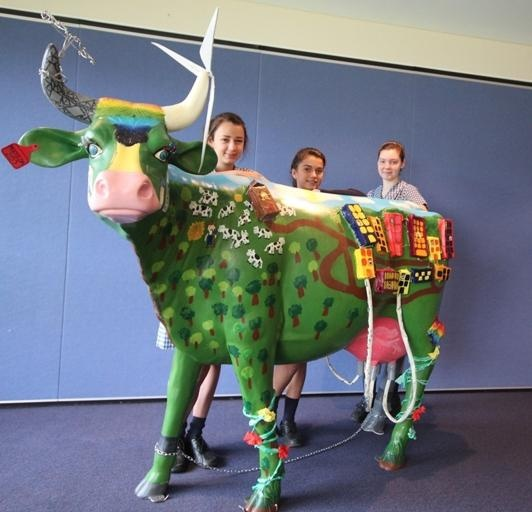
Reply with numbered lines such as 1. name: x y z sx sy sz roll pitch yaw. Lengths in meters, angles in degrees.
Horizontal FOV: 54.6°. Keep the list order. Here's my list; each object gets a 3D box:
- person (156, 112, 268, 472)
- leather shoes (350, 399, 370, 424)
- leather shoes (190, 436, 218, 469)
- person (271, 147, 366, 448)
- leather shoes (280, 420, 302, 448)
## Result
1. person: -0.329 0.126 2.467 0.364 1.680 0.555 2 2 5
2. leather shoes: 0.556 0.934 3.066 0.059 0.082 0.186 -5 10 17
3. leather shoes: -0.294 0.916 2.390 0.065 0.077 0.190 -3 6 -24
4. person: 0.265 0.158 2.845 0.372 1.650 0.904 2 2 7
5. leather shoes: 0.119 0.940 2.680 0.069 0.075 0.194 3 -3 -13
